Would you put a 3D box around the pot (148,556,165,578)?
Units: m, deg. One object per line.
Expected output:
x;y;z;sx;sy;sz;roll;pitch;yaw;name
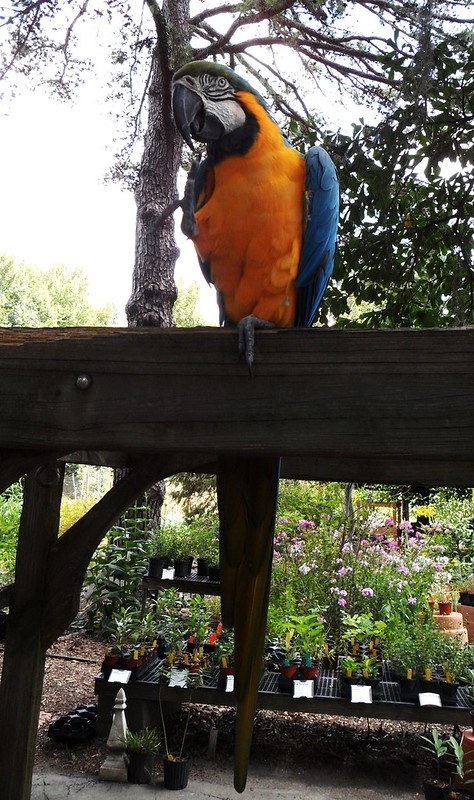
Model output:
-0.630;1.346;4.529;0.116;0.147;0.125;8;-14;2;pot

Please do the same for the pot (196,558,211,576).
-0.274;1.382;4.677;0.110;0.142;0.120;3;-6;0;pot

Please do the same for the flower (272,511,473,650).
0.953;1.405;4.464;0.961;0.694;1.109;2;-16;0;flower

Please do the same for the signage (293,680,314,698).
0.357;1.575;3.079;0.109;0.079;0.094;1;-6;6;signage

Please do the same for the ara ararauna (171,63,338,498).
0.034;-0.493;1.656;0.545;0.827;0.428;-6;16;-37;ara ararauna

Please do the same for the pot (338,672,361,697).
0.601;1.527;3.044;0.082;0.108;0.096;7;-18;1;pot

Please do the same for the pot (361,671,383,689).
0.742;1.537;3.114;0.084;0.069;0.086;3;-3;0;pot

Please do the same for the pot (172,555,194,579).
-0.444;1.376;4.642;0.103;0.119;0.146;1;-7;0;pot

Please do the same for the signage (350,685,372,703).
0.645;1.526;2.961;0.070;0.022;0.077;0;21;3;signage

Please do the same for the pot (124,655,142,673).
-0.600;1.540;3.306;0.072;0.067;0.082;0;-8;-2;pot

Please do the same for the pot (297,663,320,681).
0.396;1.541;3.211;0.099;0.084;0.097;-1;-8;0;pot

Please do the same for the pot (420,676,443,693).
1.041;1.512;3.027;0.087;0.073;0.086;0;-3;0;pot

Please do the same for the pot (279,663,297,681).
0.291;1.525;3.168;0.071;0.062;0.077;-1;-17;0;pot

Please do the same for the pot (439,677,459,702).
1.101;1.530;2.992;0.091;0.111;0.099;0;-3;0;pot

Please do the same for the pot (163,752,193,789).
-0.290;1.875;2.896;0.140;0.138;0.145;0;-9;0;pot

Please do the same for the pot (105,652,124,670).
-0.722;1.555;3.363;0.073;0.061;0.079;0;-9;0;pot

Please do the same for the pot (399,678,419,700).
0.903;1.536;3.011;0.088;0.099;0.096;1;-14;0;pot

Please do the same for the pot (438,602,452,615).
1.552;1.560;4.262;0.093;0.085;0.101;0;-12;0;pot
